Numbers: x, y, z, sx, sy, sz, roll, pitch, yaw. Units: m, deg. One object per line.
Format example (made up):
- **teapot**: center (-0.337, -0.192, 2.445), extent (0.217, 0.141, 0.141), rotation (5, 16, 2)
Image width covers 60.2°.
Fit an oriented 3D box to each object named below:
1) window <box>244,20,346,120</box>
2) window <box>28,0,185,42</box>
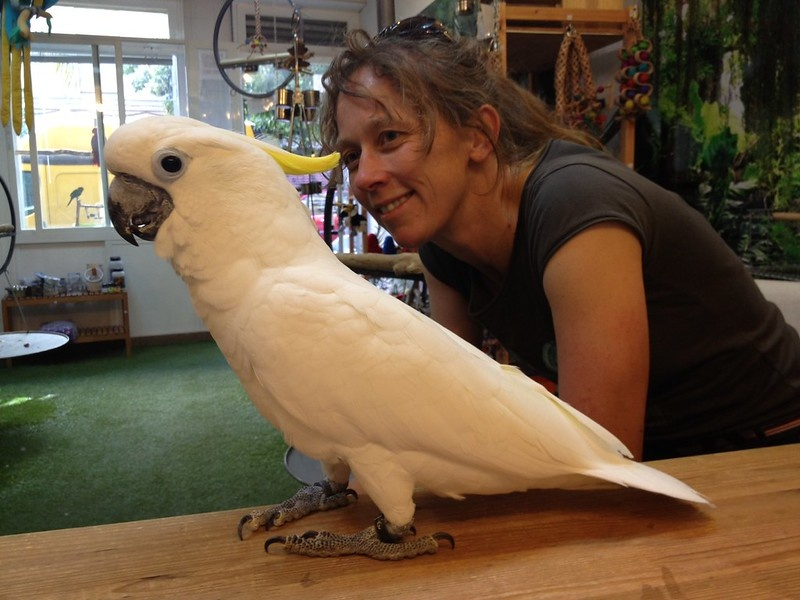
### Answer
- **window**: center (-0.614, -1.314, 3.828), extent (0.240, 0.405, 0.397), rotation (-19, 26, 1)
- **window**: center (-2.324, -2.164, 5.337), extent (0.995, 0.291, 0.361), rotation (-4, 10, -12)
